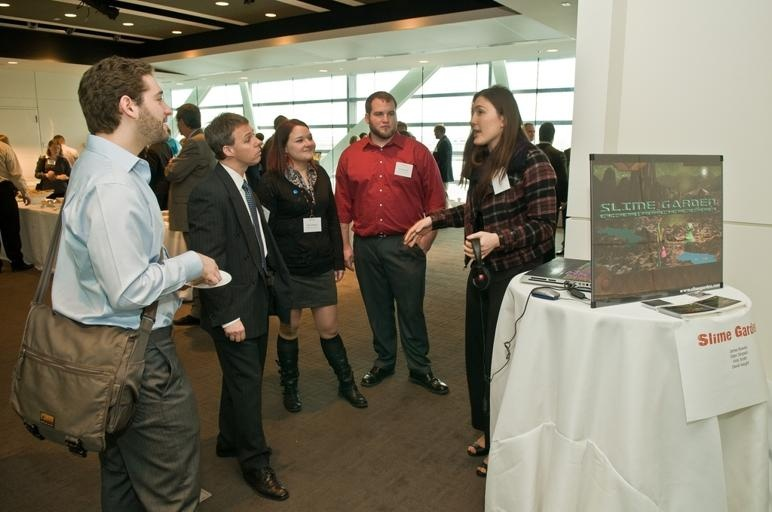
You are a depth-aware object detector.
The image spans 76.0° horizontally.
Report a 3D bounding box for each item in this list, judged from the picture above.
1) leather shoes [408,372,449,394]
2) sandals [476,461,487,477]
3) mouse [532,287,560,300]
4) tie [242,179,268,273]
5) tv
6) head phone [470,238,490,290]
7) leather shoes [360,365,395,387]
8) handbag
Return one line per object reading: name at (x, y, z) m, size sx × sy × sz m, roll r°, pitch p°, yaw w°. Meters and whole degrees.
leather shoes at (0.339, 0.962, 3.790) m, size 0.320 × 0.147 × 0.124 m, roll 8°, pitch 12°, yaw 37°
sandals at (0.549, 1.228, 2.834) m, size 0.045 × 0.052 × 0.130 m, roll 0°, pitch -5°, yaw 16°
mouse at (0.693, 0.153, 2.125) m, size 0.052 × 0.024 × 0.086 m, roll -15°, pitch 14°, yaw -41°
tie at (-0.753, -0.209, 2.815) m, size 0.089 × 0.646 × 0.066 m, roll -12°, pitch -30°, yaw -6°
tv at (1.171, -0.127, 2.093) m, size 0.702 × 0.622 × 0.031 m, roll -3°, pitch 1°, yaw -16°
head phone at (0.479, 0.032, 2.501) m, size 0.075 × 0.234 × 0.190 m, roll -11°, pitch 20°, yaw 8°
leather shoes at (-0.064, 0.940, 3.880) m, size 0.110 × 0.118 × 0.288 m, roll -4°, pitch -3°, yaw 41°
handbag at (-1.235, 0.486, 2.019) m, size 0.531 × 0.539 × 0.288 m, roll 2°, pitch 12°, yaw 18°
